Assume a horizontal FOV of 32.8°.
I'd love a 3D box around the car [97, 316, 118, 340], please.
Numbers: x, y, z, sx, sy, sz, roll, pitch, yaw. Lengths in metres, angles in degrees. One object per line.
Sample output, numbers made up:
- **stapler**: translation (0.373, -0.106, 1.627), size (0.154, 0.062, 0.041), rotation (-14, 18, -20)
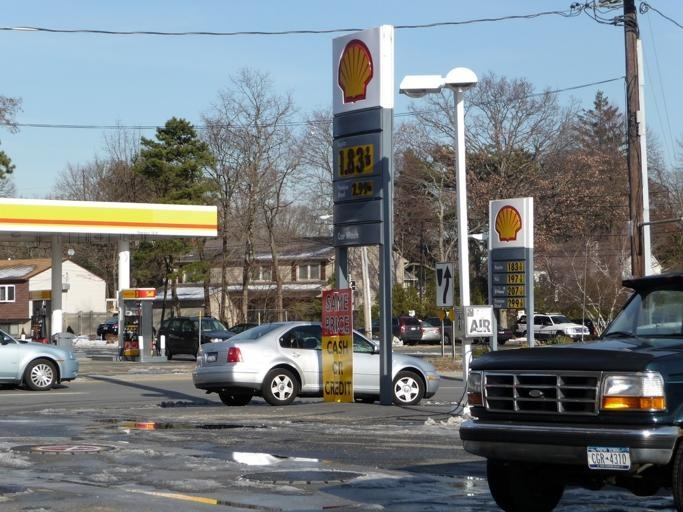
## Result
- **car**: translation (-14.457, 4.672, 72.872), size (1.004, 0.807, 2.309), rotation (0, 2, 7)
